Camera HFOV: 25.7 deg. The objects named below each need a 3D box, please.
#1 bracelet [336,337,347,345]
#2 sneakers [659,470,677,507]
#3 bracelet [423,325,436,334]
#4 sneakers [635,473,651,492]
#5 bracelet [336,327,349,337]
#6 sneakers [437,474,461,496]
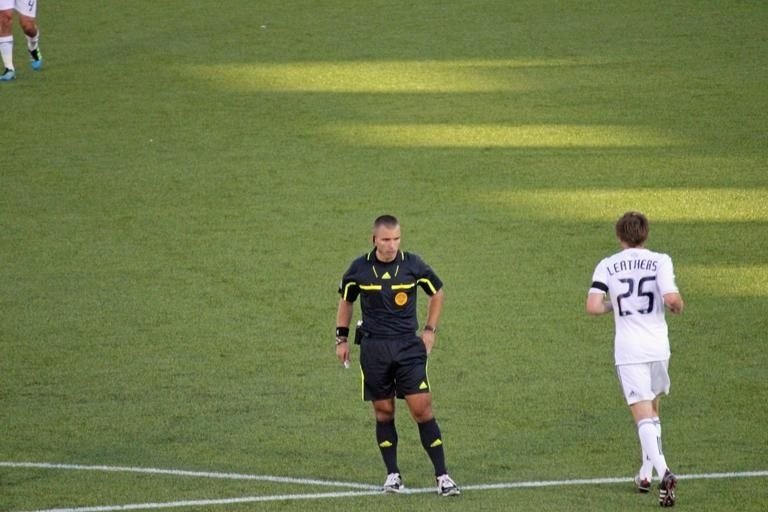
[{"bbox_3d":[-0.604,1.195,23.291,0.119,0.065,0.119,1,-3,24],"label":"bracelet"},{"bbox_3d":[3.807,3.167,22.682,0.211,0.274,0.553,-4,-53,4],"label":"sneakers"},{"bbox_3d":[0.612,1.028,23.272,0.138,0.085,0.137,8,-5,-18],"label":"bracelet"},{"bbox_3d":[3.538,3.174,23.098,0.112,0.130,0.319,2,14,-2],"label":"sneakers"},{"bbox_3d":[-0.622,1.065,23.317,0.145,0.096,0.141,1,-2,4],"label":"bracelet"},{"bbox_3d":[0.869,3.208,23.127,0.188,0.184,0.418,-1,-5,-26],"label":"sneakers"}]
